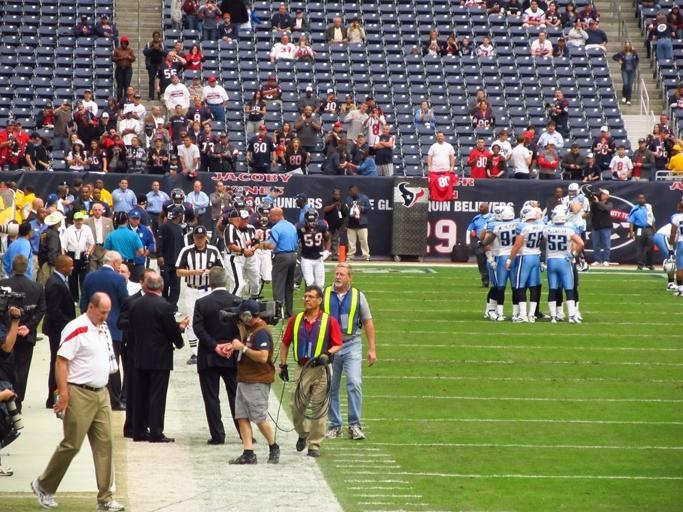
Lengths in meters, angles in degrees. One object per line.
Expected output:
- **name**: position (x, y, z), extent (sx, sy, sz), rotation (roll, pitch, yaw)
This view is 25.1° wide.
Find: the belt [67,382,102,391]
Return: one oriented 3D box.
- **belt**: position (-4.240, 2.128, 25.290), extent (0.527, 0.135, 0.080), rotation (-2, 0, -15)
